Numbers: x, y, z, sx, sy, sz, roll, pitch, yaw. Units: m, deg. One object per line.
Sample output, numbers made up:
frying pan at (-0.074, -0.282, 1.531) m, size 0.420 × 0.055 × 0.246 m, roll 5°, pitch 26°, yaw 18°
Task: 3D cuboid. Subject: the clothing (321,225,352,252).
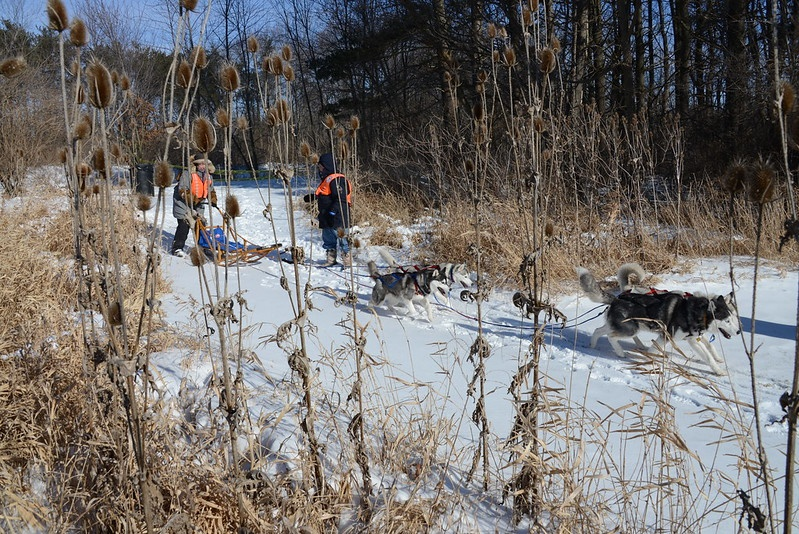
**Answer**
clothing at (-0.877, -0.392, 9.871) m, size 0.382 × 0.469 × 0.173 m, roll -5°, pitch 30°, yaw 34°
